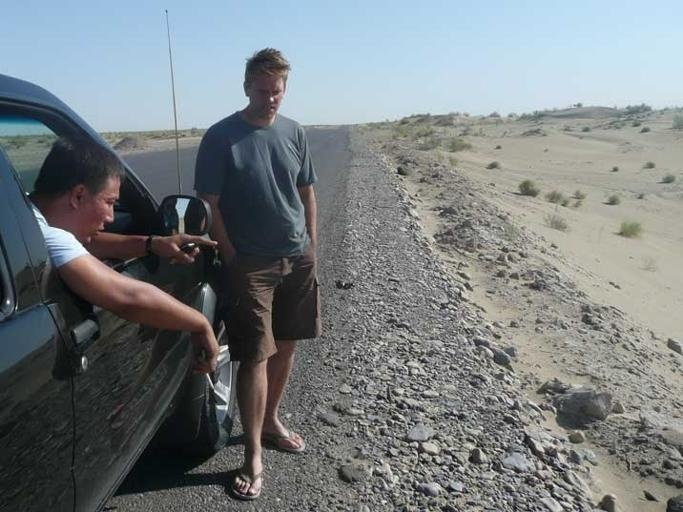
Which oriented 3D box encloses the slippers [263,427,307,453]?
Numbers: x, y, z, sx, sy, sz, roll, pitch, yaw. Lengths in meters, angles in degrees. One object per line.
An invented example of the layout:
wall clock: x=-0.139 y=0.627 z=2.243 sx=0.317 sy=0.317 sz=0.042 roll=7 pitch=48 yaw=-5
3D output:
slippers: x=-0.407 y=1.249 z=2.997 sx=0.244 sy=0.072 sz=0.140 roll=10 pitch=22 yaw=26
